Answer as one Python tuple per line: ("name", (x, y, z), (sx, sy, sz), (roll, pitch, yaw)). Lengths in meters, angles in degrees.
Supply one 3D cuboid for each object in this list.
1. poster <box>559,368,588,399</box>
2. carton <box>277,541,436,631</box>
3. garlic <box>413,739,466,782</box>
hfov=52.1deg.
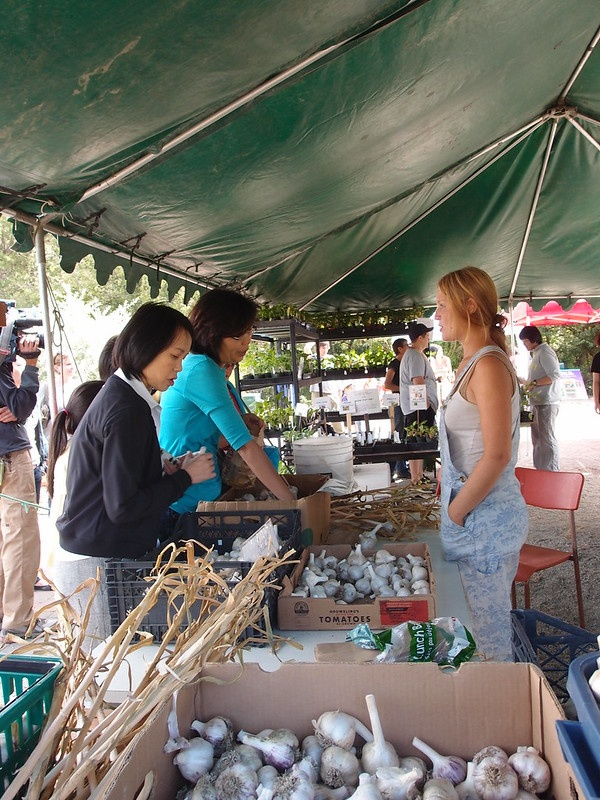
("poster", (9.721, -0.546, 21.627), (0.808, 0.697, 1.669), (-2, 1, 24))
("carton", (0.140, 0.497, 1.738), (0.457, 0.166, 0.413), (2, 3, 6))
("garlic", (0.216, 0.560, 0.947), (0.081, 0.047, 0.051), (-2, 1, 14))
